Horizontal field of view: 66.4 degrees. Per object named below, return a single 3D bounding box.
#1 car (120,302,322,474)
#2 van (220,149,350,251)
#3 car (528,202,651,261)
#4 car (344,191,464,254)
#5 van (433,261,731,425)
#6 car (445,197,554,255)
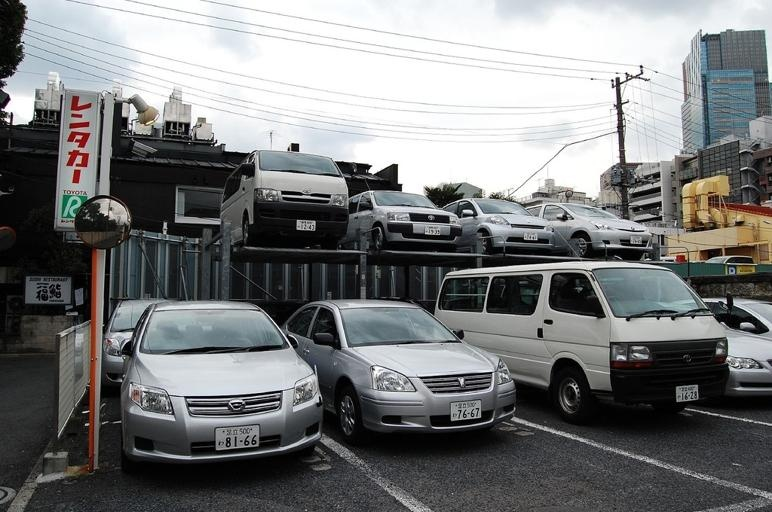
[{"bbox_3d":[-2.859,1.659,9.123,2.689,2.031,4.699,2,-3,-24],"label":"car"},{"bbox_3d":[-2.662,-1.262,14.696,2.254,2.259,4.647,2,-4,-26],"label":"van"},{"bbox_3d":[5.504,-0.745,16.394,1.639,1.291,2.944,4,-8,-29],"label":"car"},{"bbox_3d":[0.335,-0.888,14.697,2.638,1.521,1.627,3,5,42],"label":"car"},{"bbox_3d":[3.178,1.386,10.305,2.477,1.973,4.302,3,-8,-30],"label":"van"},{"bbox_3d":[2.992,-0.830,15.215,1.412,1.095,2.528,4,-8,-28],"label":"car"}]
